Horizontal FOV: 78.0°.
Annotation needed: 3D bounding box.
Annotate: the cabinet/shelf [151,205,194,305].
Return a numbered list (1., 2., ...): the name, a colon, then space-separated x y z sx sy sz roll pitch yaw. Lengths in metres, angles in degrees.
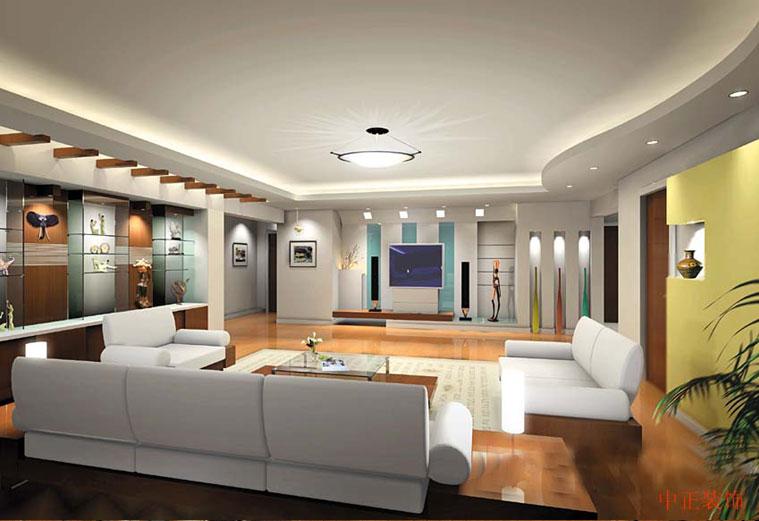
1. cabinet/shelf: -3.657 -0.087 8.357 0.216 1.707 0.832 0 1 21

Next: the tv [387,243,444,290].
1. tv: 0.903 0.142 11.078 1.068 0.841 0.116 0 0 14

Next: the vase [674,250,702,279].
1. vase: 3.540 0.048 5.359 0.223 0.331 0.195 0 1 1

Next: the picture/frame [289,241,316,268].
1. picture/frame: -1.852 -0.146 11.407 0.622 0.595 0.064 0 -2 14

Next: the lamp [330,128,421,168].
1. lamp: 0.001 -1.602 6.656 1.114 0.521 1.140 -1 12 1

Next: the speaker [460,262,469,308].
1. speaker: 1.957 0.568 10.861 0.187 1.095 0.124 0 1 8

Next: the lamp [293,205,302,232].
1. lamp: -1.983 -0.951 11.300 0.220 0.540 0.281 0 1 1

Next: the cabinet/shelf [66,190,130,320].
1. cabinet/shelf: -4.181 -0.083 7.061 0.258 1.807 0.931 0 1 27

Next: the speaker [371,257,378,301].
1. speaker: -0.123 0.449 11.322 0.198 1.071 0.165 0 1 -2

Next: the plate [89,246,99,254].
1. plate: -4.227 -0.158 6.952 0.032 0.121 0.132 0 0 20
